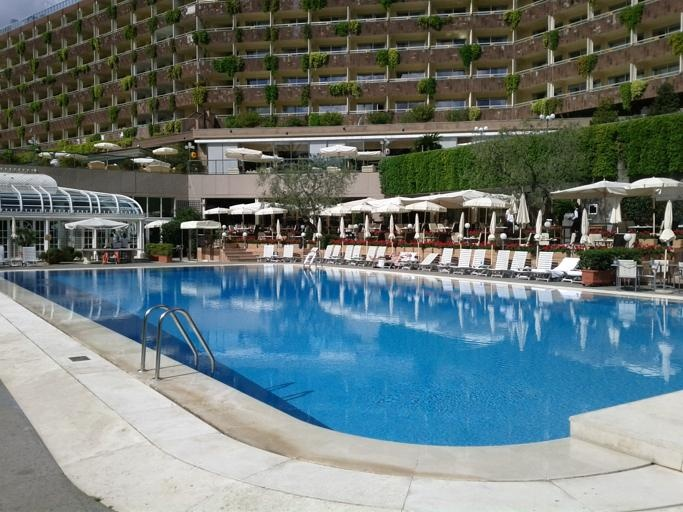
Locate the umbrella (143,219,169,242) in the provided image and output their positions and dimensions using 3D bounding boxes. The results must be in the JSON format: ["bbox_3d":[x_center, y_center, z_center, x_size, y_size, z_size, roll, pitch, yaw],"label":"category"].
[{"bbox_3d":[-10.465,-1.507,38.508,1.300,0.871,1.220,0,2,-26],"label":"umbrella"}]

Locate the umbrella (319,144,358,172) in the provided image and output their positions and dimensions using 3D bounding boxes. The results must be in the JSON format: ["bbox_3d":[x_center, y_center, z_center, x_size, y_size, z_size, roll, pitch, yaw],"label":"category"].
[{"bbox_3d":[-0.008,-6.437,42.453,2.268,1.656,2.287,9,14,39],"label":"umbrella"}]

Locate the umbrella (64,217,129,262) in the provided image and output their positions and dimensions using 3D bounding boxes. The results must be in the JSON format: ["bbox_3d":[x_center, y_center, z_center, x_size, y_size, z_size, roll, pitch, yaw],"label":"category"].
[{"bbox_3d":[-12.607,-1.063,33.637,2.174,1.617,2.432,4,0,-9],"label":"umbrella"}]

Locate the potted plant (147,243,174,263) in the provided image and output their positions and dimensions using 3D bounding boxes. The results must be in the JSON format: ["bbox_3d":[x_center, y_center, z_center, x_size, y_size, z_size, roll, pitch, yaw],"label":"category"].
[{"bbox_3d":[-9.524,-0.199,35.860,0.837,0.920,2.146,-2,2,-31],"label":"potted plant"}]
